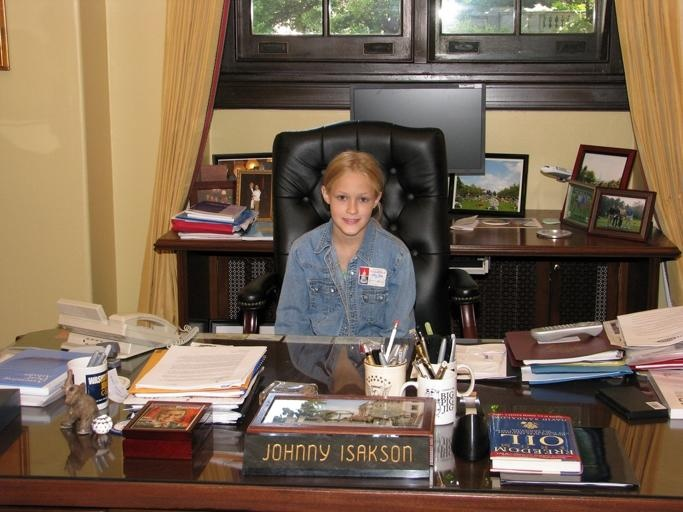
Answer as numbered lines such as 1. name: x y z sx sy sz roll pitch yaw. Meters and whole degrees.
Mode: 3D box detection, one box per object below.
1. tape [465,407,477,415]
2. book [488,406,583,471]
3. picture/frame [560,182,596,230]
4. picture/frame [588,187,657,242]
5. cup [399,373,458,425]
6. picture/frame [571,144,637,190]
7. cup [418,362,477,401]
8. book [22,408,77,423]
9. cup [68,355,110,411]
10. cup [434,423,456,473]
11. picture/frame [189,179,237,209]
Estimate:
1. tape: 0.227 0.269 0.975 0.015 0.020 0.017 1 -3 5
2. book: 0.337 0.327 0.979 0.173 0.034 0.186 4 14 34
3. picture/frame: 1.054 -0.218 2.472 0.020 0.199 0.198 4 11 -17
4. picture/frame: 1.155 -0.170 2.306 0.205 0.177 0.019 15 -8 27
5. cup: 0.165 0.275 1.072 0.106 0.087 0.063 -5 -5 9
6. picture/frame: 1.215 -0.413 2.580 0.249 0.254 0.020 -9 -9 41
7. cup: 0.220 0.235 1.106 0.126 0.086 0.070 6 1 -8
8. book: -0.593 0.313 1.100 0.044 0.011 0.047 3 9 3
9. cup: -0.510 0.260 1.159 0.067 0.094 0.109 2 5 7
10. cup: 0.172 0.346 0.983 0.046 0.050 0.053 0 4 3
11. picture/frame: -0.590 -0.286 2.589 0.178 0.154 0.015 -1 -24 3
